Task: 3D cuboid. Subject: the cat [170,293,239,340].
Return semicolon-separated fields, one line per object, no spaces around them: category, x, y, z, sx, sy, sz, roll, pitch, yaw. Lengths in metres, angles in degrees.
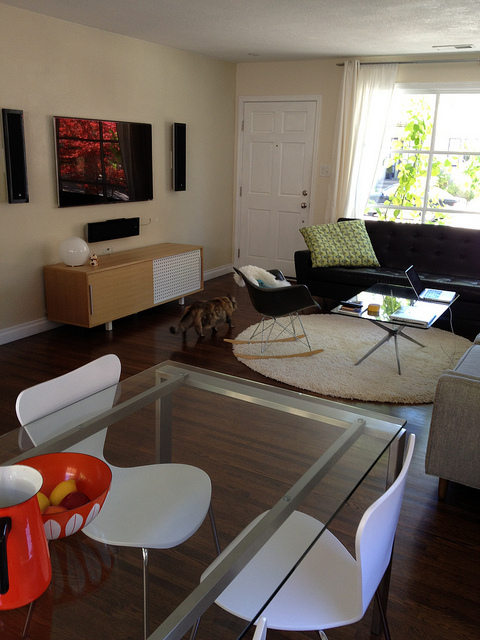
cat;-0.331;-0.033;4.395;0.327;0.402;0.749;10;12;38

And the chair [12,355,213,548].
chair;-0.274;0.394;1.304;0.401;0.635;0.373;16;30;27

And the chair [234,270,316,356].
chair;0.302;-0.070;4.136;0.493;0.600;0.564;7;-9;-28

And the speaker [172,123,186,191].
speaker;-0.736;-1.968;5.534;0.083;0.774;0.223;10;12;38

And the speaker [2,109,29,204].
speaker;-1.818;-1.330;3.728;0.075;0.732;0.203;7;10;25

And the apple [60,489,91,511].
apple;-0.309;0.347;0.872;0.048;0.028;0.038;3;24;20

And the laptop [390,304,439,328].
laptop;1.387;-0.038;3.649;0.227;0.057;0.245;13;35;32

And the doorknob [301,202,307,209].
doorknob;0.890;-1.591;6.342;0.080;0.059;0.025;5;10;13

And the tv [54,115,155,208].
tv;-1.349;-1.604;4.610;1.116;0.800;0.024;7;19;16

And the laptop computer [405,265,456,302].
laptop computer;1.785;-0.292;4.295;0.402;0.260;0.400;4;21;25

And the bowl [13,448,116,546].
bowl;-0.332;0.327;0.900;0.140;0.063;0.144;1;15;0

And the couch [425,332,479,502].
couch;1.081;0.511;2.346;0.188;0.341;0.651;11;28;28
